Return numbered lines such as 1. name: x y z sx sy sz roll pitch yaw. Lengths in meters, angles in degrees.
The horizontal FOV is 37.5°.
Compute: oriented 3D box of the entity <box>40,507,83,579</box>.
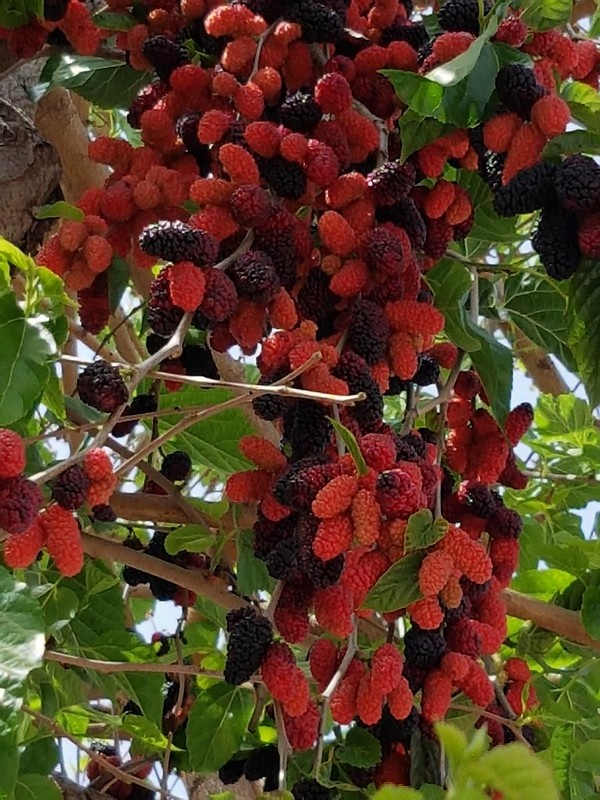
1. entity: -0.232 0.131 0.833 0.036 0.030 0.071 2 43 -39
